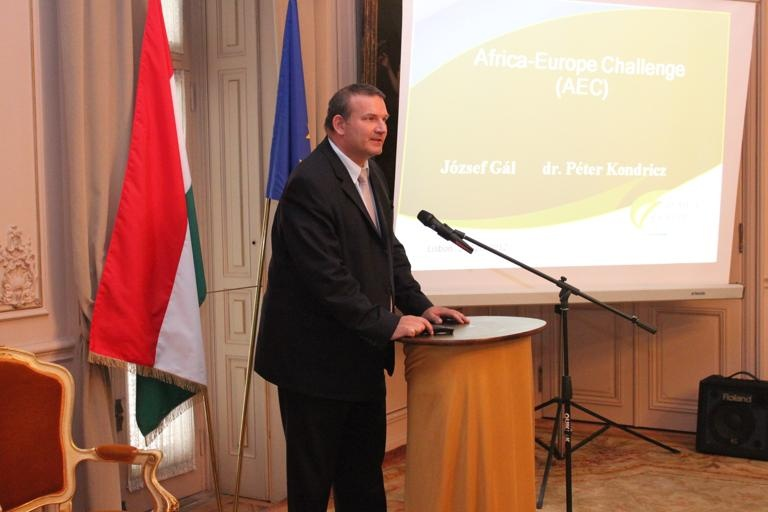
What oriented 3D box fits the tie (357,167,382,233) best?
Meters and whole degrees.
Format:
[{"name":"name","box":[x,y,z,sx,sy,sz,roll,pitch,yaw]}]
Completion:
[{"name":"tie","box":[-0.083,-0.301,3.541,0.070,0.406,0.044,-6,-9,-37]}]

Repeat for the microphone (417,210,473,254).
[{"name":"microphone","box":[0.355,-0.140,4.336,0.328,0.097,0.089,36,45,8]}]
